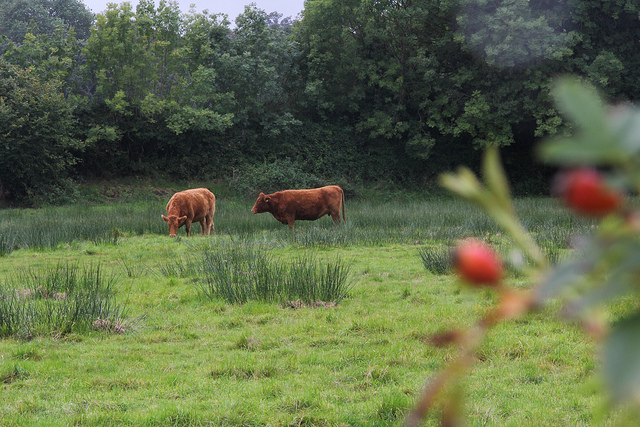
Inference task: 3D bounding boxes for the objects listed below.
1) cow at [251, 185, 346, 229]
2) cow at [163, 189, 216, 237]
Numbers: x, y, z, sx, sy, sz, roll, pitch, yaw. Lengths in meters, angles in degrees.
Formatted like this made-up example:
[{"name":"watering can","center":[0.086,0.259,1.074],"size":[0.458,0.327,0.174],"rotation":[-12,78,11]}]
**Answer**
[{"name":"cow","center":[-1.099,-0.305,44.878],"size":[4.952,2.634,1.753],"rotation":[0,-10,2]},{"name":"cow","center":[-6.045,0.141,42.984],"size":[1.287,2.318,4.398],"rotation":[-1,6,23]}]
